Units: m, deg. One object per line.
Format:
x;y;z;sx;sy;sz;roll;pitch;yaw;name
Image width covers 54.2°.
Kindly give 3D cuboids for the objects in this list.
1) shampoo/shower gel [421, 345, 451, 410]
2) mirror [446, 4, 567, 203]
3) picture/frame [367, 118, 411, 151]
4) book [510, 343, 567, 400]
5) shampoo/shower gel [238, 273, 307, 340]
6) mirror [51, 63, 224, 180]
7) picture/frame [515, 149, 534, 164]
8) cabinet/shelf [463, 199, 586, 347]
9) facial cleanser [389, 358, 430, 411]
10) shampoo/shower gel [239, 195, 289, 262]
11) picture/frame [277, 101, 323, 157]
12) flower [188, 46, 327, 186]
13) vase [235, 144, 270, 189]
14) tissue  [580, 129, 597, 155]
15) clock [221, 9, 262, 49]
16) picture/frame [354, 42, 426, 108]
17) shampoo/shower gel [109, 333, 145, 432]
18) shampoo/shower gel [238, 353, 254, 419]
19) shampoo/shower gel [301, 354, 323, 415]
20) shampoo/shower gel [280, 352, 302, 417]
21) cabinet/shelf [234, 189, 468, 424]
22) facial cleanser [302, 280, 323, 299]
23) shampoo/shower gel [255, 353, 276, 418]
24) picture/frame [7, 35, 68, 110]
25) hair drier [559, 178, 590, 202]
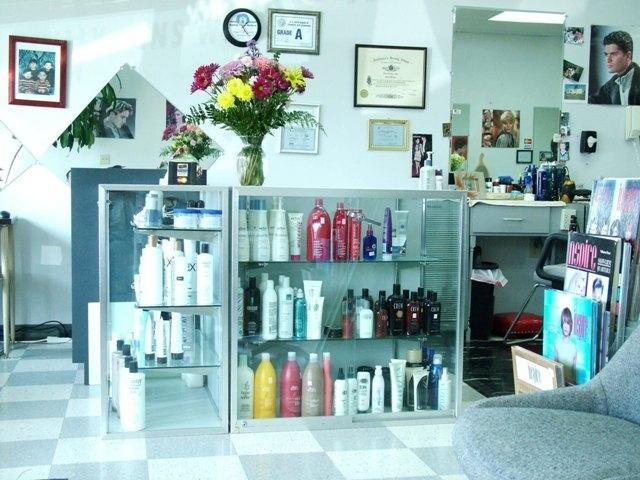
0.658;0.784;3.520;0.137;0.378;0.148;9;7;34;shampoo/shower gel
1.499;-0.950;4.547;0.708;1.292;0.120;1;5;-8;mirror
0.431;-0.687;4.009;0.203;0.156;0.017;0;0;-6;picture/frame
1.046;0.621;2.974;0.057;0.323;0.419;-13;3;-15;book
-0.216;0.352;3.361;0.265;0.335;0.202;0;5;-22;shampoo/shower gel
-1.235;-0.724;4.098;1.165;0.646;0.086;-1;5;-16;mirror
1.613;-0.669;4.900;0.107;0.098;0.039;1;0;8;picture/frame
1.546;0.149;4.820;0.774;1.179;0.594;-1;4;-14;cabinet/shelf
0.489;0.799;3.464;0.261;0.327;0.092;3;-6;-18;facial cleanser
-0.294;-0.058;3.332;0.271;0.346;0.086;0;9;-10;shampoo/shower gel
-0.129;-0.692;3.813;0.260;0.330;0.069;-2;4;-9;picture/frame
-0.365;-0.732;3.561;0.646;0.789;0.706;1;9;-1;flower
-0.364;-0.409;3.422;0.134;0.221;0.147;-4;7;-40;vase
1.995;-0.736;4.626;0.131;0.163;0.045;3;9;9;tissue 
-0.477;-1.312;3.858;0.242;0.238;0.042;0;9;-6;clock
0.458;-1.052;3.993;0.461;0.390;0.031;1;4;-9;picture/frame
-0.976;0.724;3.213;0.156;0.435;0.193;-1;5;-19;shampoo/shower gel
-0.390;0.764;3.306;0.085;0.334;0.063;0;9;-7;shampoo/shower gel
-0.040;0.771;3.359;0.118;0.320;0.087;-1;9;-14;shampoo/shower gel
-0.152;0.766;3.353;0.118;0.334;0.068;0;9;-6;shampoo/shower gel
0.128;0.360;3.403;1.191;1.161;0.431;0;5;-7;cabinet/shelf
-0.044;0.261;3.403;0.089;0.153;0.050;2;8;-7;facial cleanser
-0.289;0.767;3.333;0.127;0.334;0.075;0;9;-6;shampoo/shower gel
-1.737;-1.029;3.848;0.318;0.449;0.035;0;3;-22;picture/frame
1.903;-0.381;4.694;0.197;0.187;0.132;7;0;13;hair drier
